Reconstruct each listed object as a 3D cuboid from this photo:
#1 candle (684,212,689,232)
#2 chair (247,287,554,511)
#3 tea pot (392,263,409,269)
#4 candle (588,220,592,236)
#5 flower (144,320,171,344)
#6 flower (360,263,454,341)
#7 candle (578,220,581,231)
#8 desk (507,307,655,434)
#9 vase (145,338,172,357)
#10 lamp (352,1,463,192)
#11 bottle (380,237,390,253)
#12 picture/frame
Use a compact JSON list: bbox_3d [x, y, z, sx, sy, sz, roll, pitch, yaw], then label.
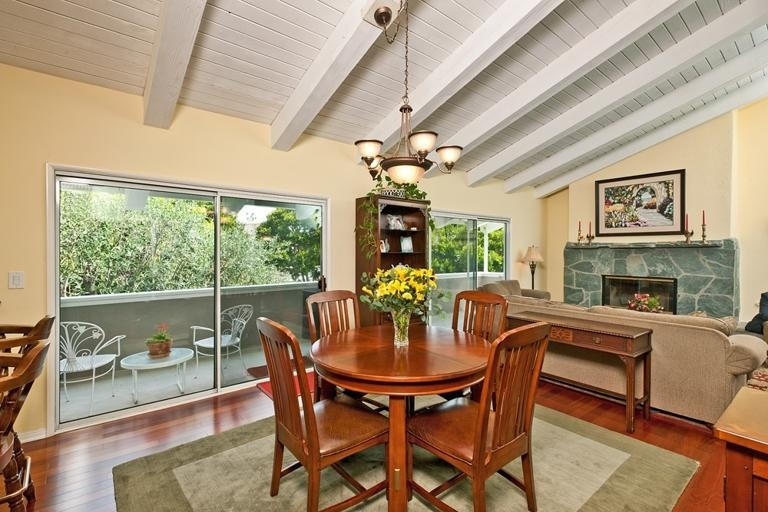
[{"bbox_3d":[4.867,-0.550,7.278,0.048,0.296,0.124,-1,1,31],"label":"candle"},{"bbox_3d":[0.310,1.200,4.096,1.923,1.712,1.525,-1,0,-10],"label":"chair"},{"bbox_3d":[0.188,0.116,4.888,0.138,0.058,0.076,-3,3,-25],"label":"tea pot"},{"bbox_3d":[3.784,-0.510,8.311,0.077,0.266,0.095,-1,1,24],"label":"candle"},{"bbox_3d":[-2.479,0.844,5.022,0.207,0.239,0.210,0,-1,20],"label":"flower"},{"bbox_3d":[0.192,0.359,4.433,0.804,0.826,0.825,0,-3,-12],"label":"flower"},{"bbox_3d":[3.652,-0.547,8.456,0.053,0.213,0.048,-1,1,32],"label":"candle"},{"bbox_3d":[2.174,1.239,5.237,0.534,1.004,1.530,-4,4,-39],"label":"desk"},{"bbox_3d":[-2.484,1.007,5.019,0.197,0.136,0.193,4,-9,-28],"label":"vase"},{"bbox_3d":[0.206,-1.611,5.128,1.012,1.811,1.969,-1,0,-1],"label":"lamp"},{"bbox_3d":[0.018,-0.147,6.258,0.125,0.197,0.198,5,4,39],"label":"bottle"},{"bbox_3d":[4.440,-0.918,7.734,1.293,1.045,0.055,2,2,43],"label":"picture/frame"}]
